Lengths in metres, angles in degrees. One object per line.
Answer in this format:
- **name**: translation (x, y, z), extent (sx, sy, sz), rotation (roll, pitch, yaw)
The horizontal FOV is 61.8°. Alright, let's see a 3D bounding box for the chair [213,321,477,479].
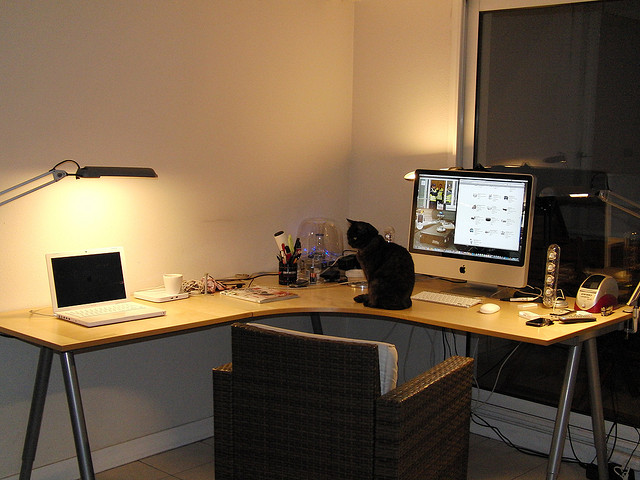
- **chair**: translation (0.069, 0.424, 1.918), extent (0.785, 0.664, 0.582), rotation (4, 9, 28)

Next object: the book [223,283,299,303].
- **book**: translation (-0.298, 0.273, 2.739), extent (0.287, 0.054, 0.294), rotation (-10, 7, -41)

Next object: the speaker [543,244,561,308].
- **speaker**: translation (1.092, 0.166, 2.530), extent (0.072, 0.280, 0.135), rotation (-1, 8, 40)

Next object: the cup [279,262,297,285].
- **cup**: translation (-0.186, 0.189, 3.017), extent (0.108, 0.117, 0.105), rotation (0, 2, 0)

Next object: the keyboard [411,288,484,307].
- **keyboard**: translation (0.635, 0.285, 2.667), extent (0.310, 0.041, 0.217), rotation (-1, 7, 39)

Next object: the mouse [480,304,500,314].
- **mouse**: translation (0.769, 0.311, 2.425), extent (0.087, 0.035, 0.068), rotation (-5, 5, 2)

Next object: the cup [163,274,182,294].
- **cup**: translation (-0.745, 0.217, 2.666), extent (0.078, 0.075, 0.092), rotation (0, -4, -40)

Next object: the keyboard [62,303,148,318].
- **keyboard**: translation (-0.961, 0.310, 2.366), extent (0.309, 0.025, 0.155), rotation (-11, 7, -44)

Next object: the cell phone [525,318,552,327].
- **cell phone**: translation (0.921, 0.347, 2.248), extent (0.064, 0.011, 0.110), rotation (-6, 6, 0)

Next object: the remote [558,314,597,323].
- **remote**: translation (1.112, 0.340, 2.318), extent (0.109, 0.025, 0.062), rotation (-4, 6, -2)

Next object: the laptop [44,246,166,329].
- **laptop**: translation (-0.959, 0.194, 2.367), extent (0.394, 0.277, 0.389), rotation (3, 5, 42)
